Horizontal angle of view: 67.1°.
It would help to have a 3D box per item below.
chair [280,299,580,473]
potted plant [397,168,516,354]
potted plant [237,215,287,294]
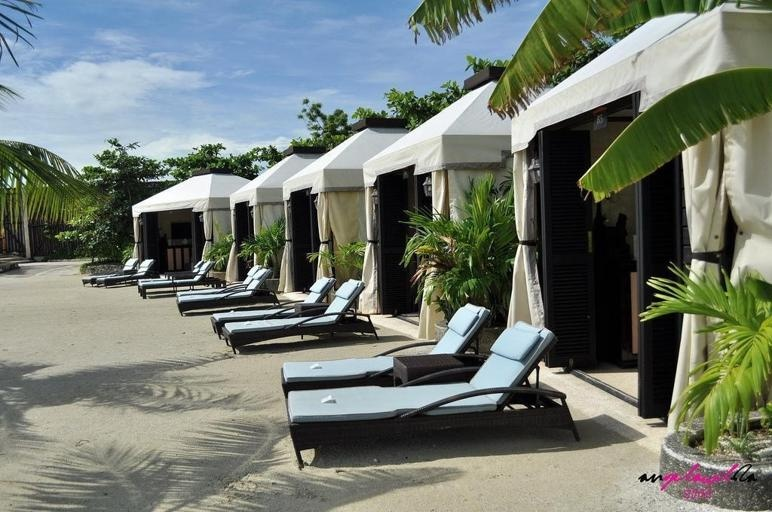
[{"bbox_3d":[0.314,1.251,5.391,2.241,0.875,1.253,0,1,-11],"label":"chair"},{"bbox_3d":[1.228,0.030,8.742,2.116,2.128,1.962,0,-1,10],"label":"potted plant"},{"bbox_3d":[-3.236,-0.032,16.472,1.695,1.700,1.567,0,2,5],"label":"potted plant"}]
